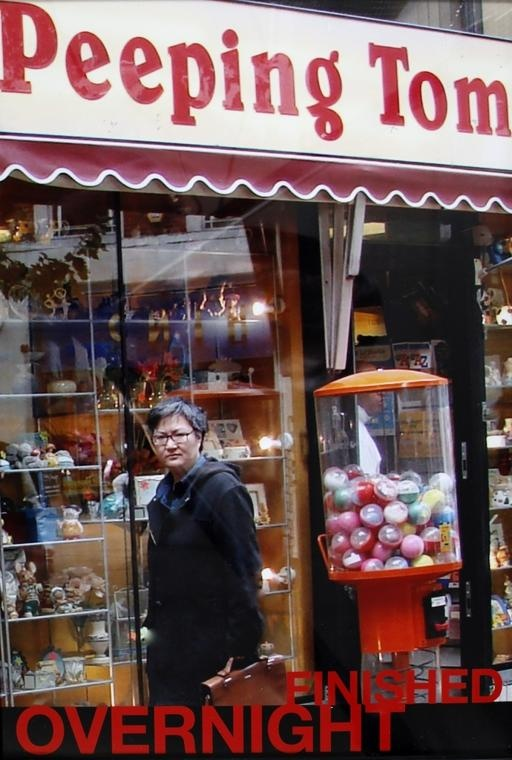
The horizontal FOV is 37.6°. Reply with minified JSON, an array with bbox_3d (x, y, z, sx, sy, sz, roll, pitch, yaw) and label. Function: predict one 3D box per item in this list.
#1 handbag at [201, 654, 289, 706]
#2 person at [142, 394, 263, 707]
[{"bbox_3d":[-0.045,1.175,2.907,0.328,0.149,0.118,-4,-4,-8],"label":"handbag"},{"bbox_3d":[-0.238,0.656,3.006,0.450,1.159,0.232,-4,-5,-10],"label":"person"}]
